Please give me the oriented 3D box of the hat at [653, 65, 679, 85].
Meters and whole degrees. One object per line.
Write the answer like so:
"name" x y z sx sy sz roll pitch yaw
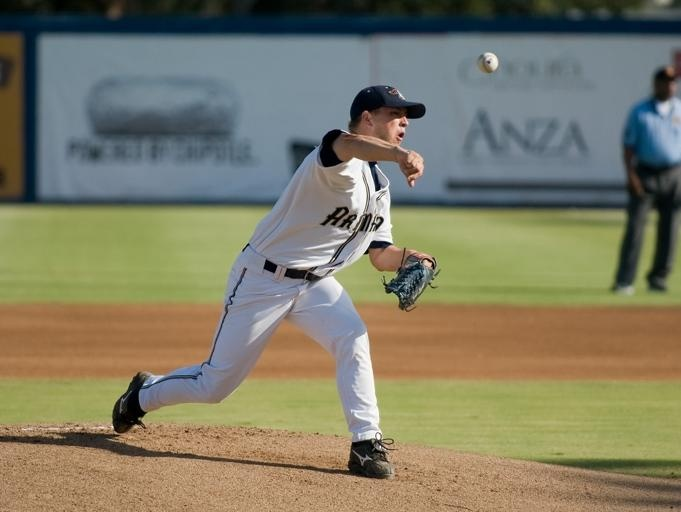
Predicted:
"hat" 3.693 -2.024 16.378 0.306 0.100 0.417 2 0 1

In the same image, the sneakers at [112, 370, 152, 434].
"sneakers" -1.878 1.311 12.967 0.218 0.459 0.165 27 -9 41

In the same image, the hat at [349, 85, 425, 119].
"hat" 0.343 -1.362 12.569 0.589 0.297 0.392 -12 -1 13

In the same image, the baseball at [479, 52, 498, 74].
"baseball" 1.545 -2.022 15.212 0.190 0.135 0.202 3 2 -17

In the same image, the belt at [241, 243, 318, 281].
"belt" -0.446 0.043 12.543 0.385 0.102 0.426 9 27 -42
